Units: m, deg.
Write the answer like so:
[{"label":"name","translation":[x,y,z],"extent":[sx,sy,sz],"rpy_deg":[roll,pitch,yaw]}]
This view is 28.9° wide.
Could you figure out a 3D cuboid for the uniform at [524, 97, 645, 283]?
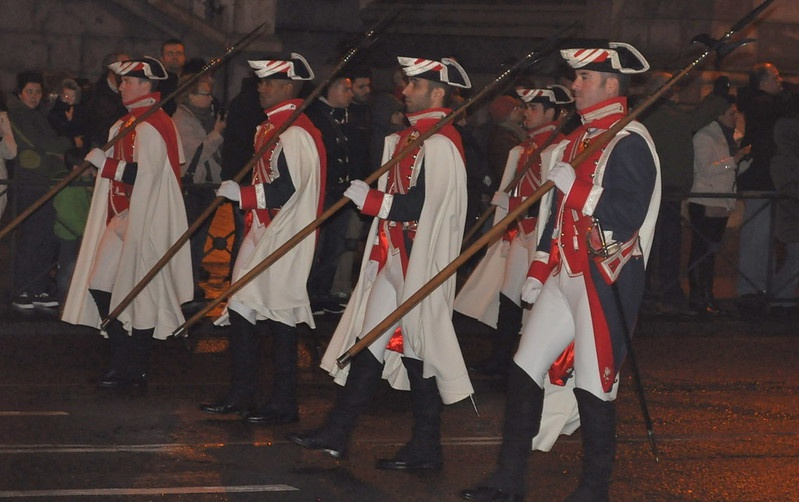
[{"label":"uniform","translation":[2.193,-0.669,17.284],"extent":[0.788,1.890,1.337],"rpy_deg":[17,-6,-33]}]

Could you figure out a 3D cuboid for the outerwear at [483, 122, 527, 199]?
[{"label":"outerwear","translation":[1.389,-1.394,21.314],"extent":[0.402,0.806,0.711],"rpy_deg":[16,-1,-15]}]

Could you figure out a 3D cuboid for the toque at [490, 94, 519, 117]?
[{"label":"toque","translation":[1.468,-2.033,21.628],"extent":[0.416,0.137,0.298],"rpy_deg":[-28,14,-31]}]

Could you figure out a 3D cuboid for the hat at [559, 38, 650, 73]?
[{"label":"hat","translation":[2.278,-2.106,17.233],"extent":[0.972,0.275,0.828],"rpy_deg":[7,-3,-4]}]
